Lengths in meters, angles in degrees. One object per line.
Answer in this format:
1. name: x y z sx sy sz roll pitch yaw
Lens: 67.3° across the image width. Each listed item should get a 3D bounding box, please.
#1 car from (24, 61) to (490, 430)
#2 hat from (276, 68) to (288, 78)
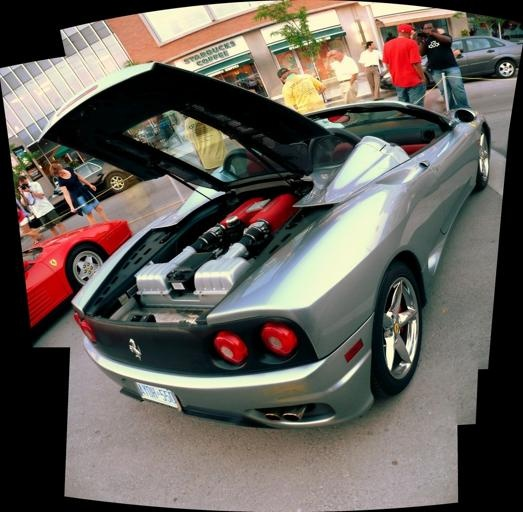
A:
1. car: 0.071 -0.083 1.936 1.279 1.062 2.237 7 47 41
2. hat: 0.091 -0.798 1.701 0.052 0.039 0.091 -16 26 12
